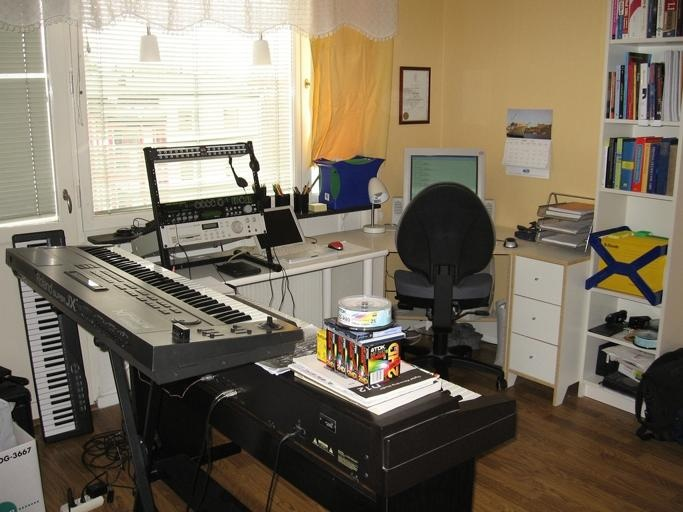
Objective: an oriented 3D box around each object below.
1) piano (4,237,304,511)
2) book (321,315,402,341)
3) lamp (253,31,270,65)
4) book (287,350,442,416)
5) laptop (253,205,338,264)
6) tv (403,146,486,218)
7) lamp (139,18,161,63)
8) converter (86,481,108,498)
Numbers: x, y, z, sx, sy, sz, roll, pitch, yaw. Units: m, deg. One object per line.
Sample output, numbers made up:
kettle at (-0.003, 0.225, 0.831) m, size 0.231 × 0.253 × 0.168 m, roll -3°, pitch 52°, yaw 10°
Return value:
piano at (-0.887, 0.559, 2.482) m, size 0.395 × 0.611 × 1.098 m, roll -10°, pitch 25°, yaw -41°
book at (0.079, 0.221, 1.665) m, size 0.103 × 0.019 × 0.107 m, roll -13°, pitch 20°, yaw -41°
lamp at (-0.510, -1.308, 3.509) m, size 0.110 × 0.200 × 0.214 m, roll -5°, pitch 15°, yaw -5°
book at (0.118, 0.390, 1.658) m, size 0.204 × 0.040 × 0.222 m, roll -9°, pitch 22°, yaw -40°
laptop at (-0.335, -0.129, 3.465) m, size 0.358 × 0.253 × 0.387 m, roll 25°, pitch 32°, yaw 37°
tv at (0.702, -0.607, 3.968) m, size 0.662 × 0.608 × 0.368 m, roll 0°, pitch 5°, yaw 6°
lamp at (-1.114, -1.234, 3.204) m, size 0.106 × 0.226 × 0.259 m, roll -8°, pitch 15°, yaw -15°
converter at (-1.186, 1.109, 2.695) m, size 0.059 × 0.055 × 0.079 m, roll 6°, pitch 5°, yaw 39°
